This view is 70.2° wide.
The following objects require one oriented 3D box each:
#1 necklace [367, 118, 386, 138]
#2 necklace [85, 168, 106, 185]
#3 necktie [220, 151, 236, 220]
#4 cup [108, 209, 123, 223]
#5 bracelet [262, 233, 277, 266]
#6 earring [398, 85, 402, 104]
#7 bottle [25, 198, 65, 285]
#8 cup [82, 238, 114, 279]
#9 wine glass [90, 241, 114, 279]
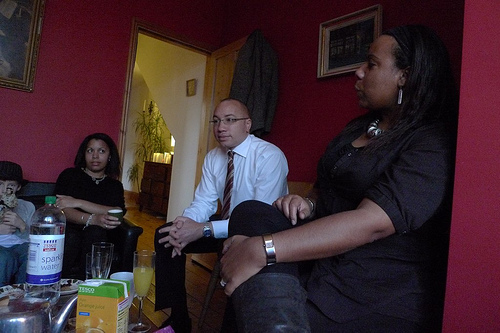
[{"bbox_3d":[0.564,-0.178,1.620,0.079,0.065,0.029,-2,-37,50],"label":"necklace"},{"bbox_3d":[-1.261,0.086,2.900,0.147,0.127,0.082,4,-6,-26],"label":"necklace"},{"bbox_3d":[-0.156,0.127,2.494,0.085,0.478,0.095,2,-5,-4],"label":"necktie"},{"bbox_3d":[-0.945,0.351,2.500,0.089,0.074,0.080,0,8,-10],"label":"cup"},{"bbox_3d":[0.073,0.308,1.322,0.052,0.093,0.094,-9,7,-3],"label":"bracelet"},{"bbox_3d":[0.641,-0.300,1.521,0.015,0.063,0.009,-2,-6,31],"label":"earring"},{"bbox_3d":[-0.873,0.321,1.534,0.136,0.371,0.356,4,-6,-30],"label":"bottle"},{"bbox_3d":[-0.740,0.463,1.727,0.097,0.156,0.099,7,-10,1],"label":"cup"},{"bbox_3d":[-0.724,0.465,1.759,0.115,0.184,0.116,8,6,16],"label":"wine glass"}]
